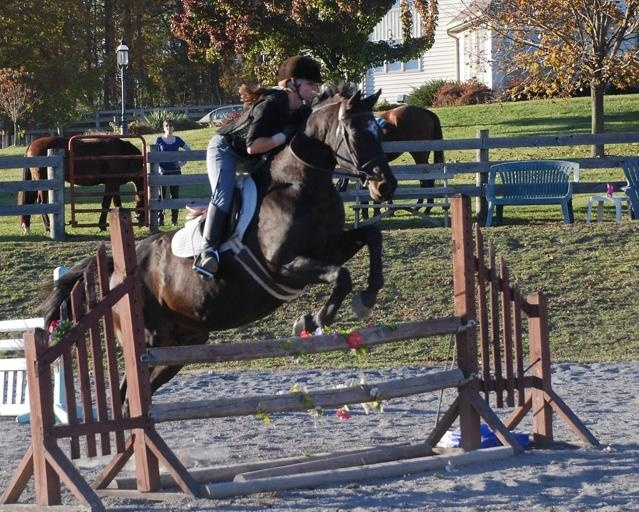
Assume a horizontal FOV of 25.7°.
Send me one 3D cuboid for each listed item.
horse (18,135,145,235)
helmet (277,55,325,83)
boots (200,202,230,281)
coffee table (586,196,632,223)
[{"bbox_3d":[-4.625,-1.333,27.637,2.640,2.040,0.778,0,-14,-16],"label":"horse"},{"bbox_3d":[-0.270,-2.532,19.128,0.448,0.269,0.340,-2,8,-4],"label":"helmet"},{"bbox_3d":[-1.433,-0.177,18.890,0.502,0.992,0.284,-9,8,-44],"label":"boots"},{"bbox_3d":[5.218,-0.876,25.519,0.619,0.506,0.645,2,10,14],"label":"coffee table"}]
